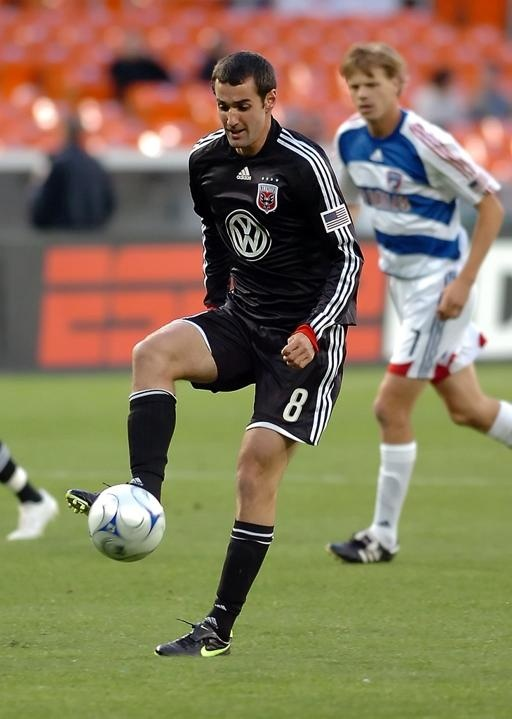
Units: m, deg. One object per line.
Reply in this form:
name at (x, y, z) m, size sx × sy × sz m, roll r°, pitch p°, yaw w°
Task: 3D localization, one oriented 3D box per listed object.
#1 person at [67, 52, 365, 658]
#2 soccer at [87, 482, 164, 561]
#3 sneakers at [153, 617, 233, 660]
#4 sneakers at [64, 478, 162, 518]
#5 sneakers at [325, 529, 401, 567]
person at (-0.037, 0.039, 2.474) m, size 0.566 × 1.419 × 0.740 m, roll 8°, pitch 10°, yaw 4°
soccer at (-0.323, 0.413, 2.263) m, size 0.224 × 0.196 × 0.201 m, roll -6°, pitch -7°, yaw 2°
sneakers at (-0.146, 0.718, 2.325) m, size 0.257 × 0.085 × 0.076 m, roll 3°, pitch 4°, yaw -19°
sneakers at (-0.326, 0.349, 2.286) m, size 0.291 × 0.102 × 0.091 m, roll 2°, pitch -11°, yaw -3°
sneakers at (0.410, 0.722, 3.451) m, size 0.301 × 0.110 × 0.101 m, roll 4°, pitch -18°, yaw -10°
